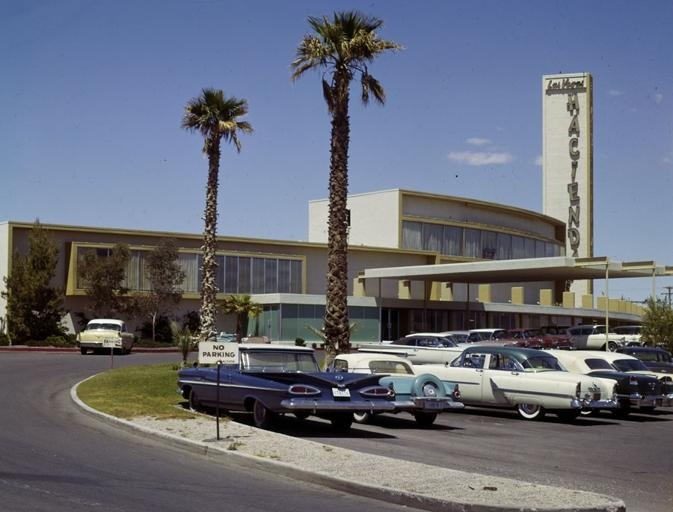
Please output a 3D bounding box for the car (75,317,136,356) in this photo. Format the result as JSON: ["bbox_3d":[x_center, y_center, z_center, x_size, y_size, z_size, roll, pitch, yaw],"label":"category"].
[{"bbox_3d":[-11.519,4.013,41.100,2.520,1.811,7.192,3,-6,-16],"label":"car"}]
